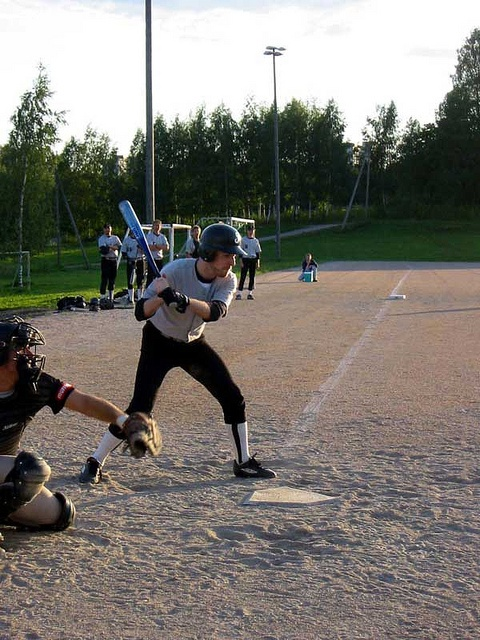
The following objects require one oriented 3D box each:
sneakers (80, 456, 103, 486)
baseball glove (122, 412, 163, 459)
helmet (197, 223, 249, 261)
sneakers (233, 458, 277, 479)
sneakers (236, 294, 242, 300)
[{"bbox_3d":[-0.910,0.940,4.166,0.099,0.106,0.160,5,11,-1],"label":"sneakers"},{"bbox_3d":[-0.400,0.482,2.867,0.202,0.143,0.193,39,-5,2],"label":"baseball glove"},{"bbox_3d":[-0.109,-0.483,4.050,0.277,0.210,0.236,0,5,-4],"label":"helmet"},{"bbox_3d":[0.088,0.970,4.411,0.320,0.145,0.103,2,-4,2],"label":"sneakers"},{"bbox_3d":[-0.020,-0.648,18.860,0.082,0.155,0.235,1,12,-8],"label":"sneakers"}]
